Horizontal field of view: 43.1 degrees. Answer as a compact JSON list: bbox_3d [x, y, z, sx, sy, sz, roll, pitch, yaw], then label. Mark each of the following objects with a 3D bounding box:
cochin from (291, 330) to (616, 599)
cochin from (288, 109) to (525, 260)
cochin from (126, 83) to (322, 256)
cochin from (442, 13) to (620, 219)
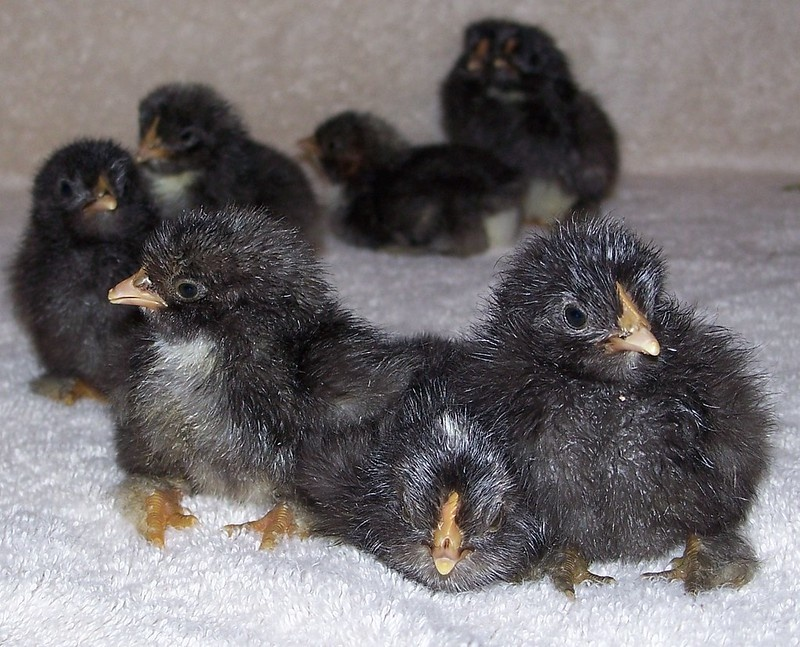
[{"bbox_3d":[0.168,0.345,2.514,0.630,0.502,0.772,3,37,11],"label":"cochin"},{"bbox_3d":[0.058,-0.475,3.479,0.702,0.448,0.448,1,96,3],"label":"cochin"},{"bbox_3d":[-0.532,-0.435,2.890,0.588,0.437,0.391,0,21,-22],"label":"cochin"},{"bbox_3d":[0.510,-0.780,3.999,0.742,0.774,0.787,7,104,12],"label":"cochin"}]
